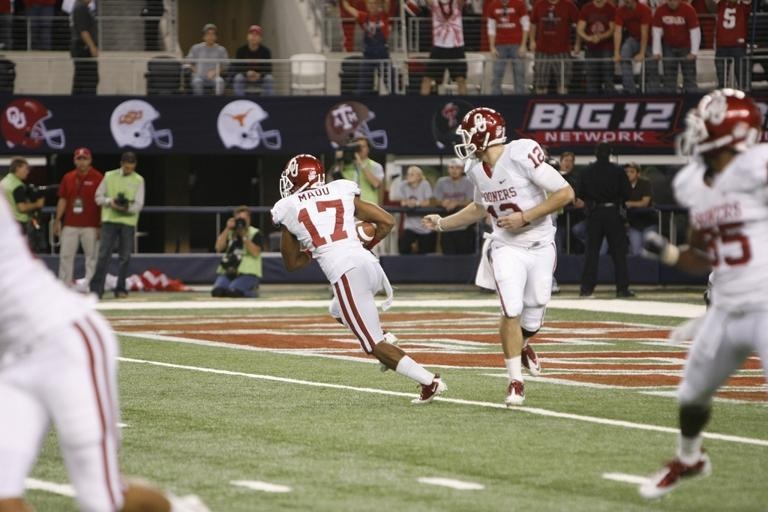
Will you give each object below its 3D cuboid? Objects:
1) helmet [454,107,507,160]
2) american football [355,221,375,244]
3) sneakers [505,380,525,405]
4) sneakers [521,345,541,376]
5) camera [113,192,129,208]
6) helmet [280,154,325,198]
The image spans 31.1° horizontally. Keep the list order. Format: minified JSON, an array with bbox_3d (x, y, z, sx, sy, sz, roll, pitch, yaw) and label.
[{"bbox_3d":[1.008,-1.334,14.913,0.575,0.529,0.487,3,7,12],"label":"helmet"},{"bbox_3d":[-0.203,-0.274,14.712,0.180,0.182,0.229,-14,-28,10],"label":"american football"},{"bbox_3d":[1.350,1.409,14.319,0.167,0.248,0.303,2,6,12],"label":"sneakers"},{"bbox_3d":[1.650,1.193,15.633,0.131,0.387,0.164,-41,-33,21],"label":"sneakers"},{"bbox_3d":[-4.053,-0.884,21.418,0.207,0.205,0.186,-2,-28,31],"label":"camera"},{"bbox_3d":[-0.860,-0.870,14.837,0.506,0.462,0.381,10,11,39],"label":"helmet"}]
